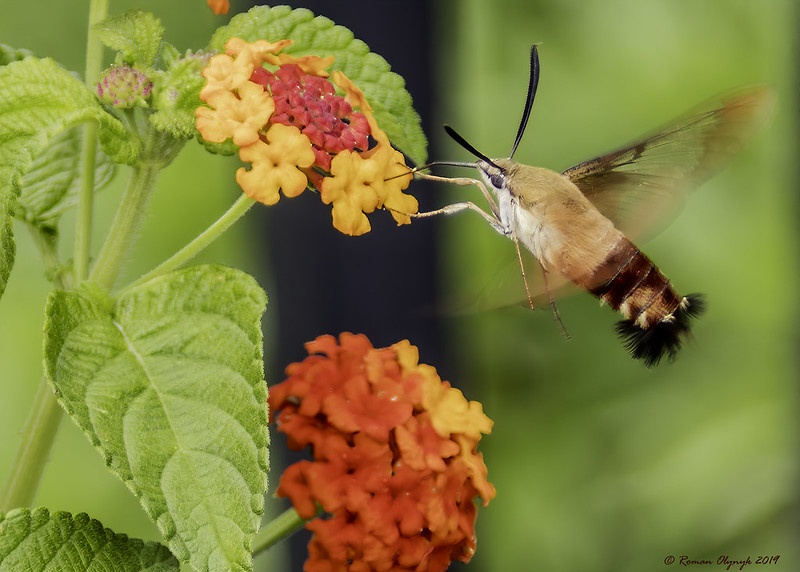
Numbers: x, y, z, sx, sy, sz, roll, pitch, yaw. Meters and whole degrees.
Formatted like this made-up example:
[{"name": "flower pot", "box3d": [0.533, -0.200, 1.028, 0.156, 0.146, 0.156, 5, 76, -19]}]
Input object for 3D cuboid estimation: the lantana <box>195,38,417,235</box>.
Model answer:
[{"name": "lantana", "box3d": [-0.198, -0.330, 2.104, 0.230, 0.324, 0.476, -3, 6, 41]}]
